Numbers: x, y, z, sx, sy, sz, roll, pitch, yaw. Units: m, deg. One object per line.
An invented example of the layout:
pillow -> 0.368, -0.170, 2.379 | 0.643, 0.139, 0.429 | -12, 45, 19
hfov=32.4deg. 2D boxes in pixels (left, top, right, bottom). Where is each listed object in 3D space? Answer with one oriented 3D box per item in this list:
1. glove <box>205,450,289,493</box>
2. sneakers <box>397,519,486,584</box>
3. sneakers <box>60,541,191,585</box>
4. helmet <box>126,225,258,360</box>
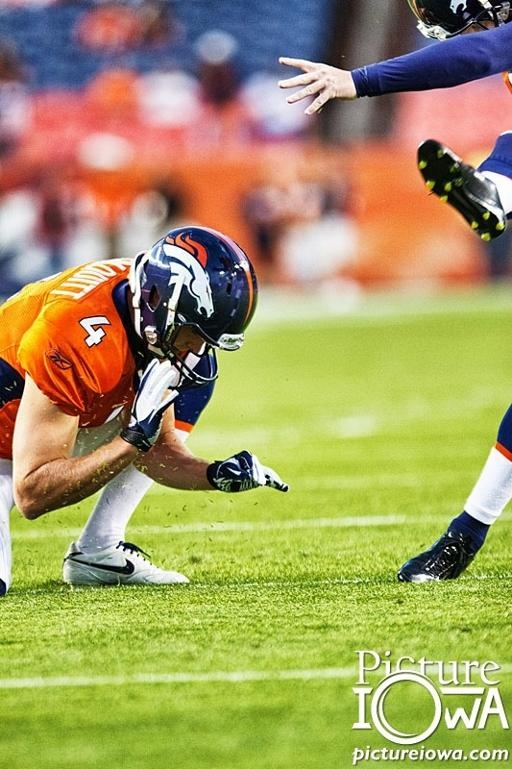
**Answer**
glove -> -0.031, 0.200, 2.024 | 0.148, 0.058, 0.115 | 3, -3, 37
sneakers -> 0.498, 0.447, 2.350 | 0.257, 0.093, 0.101 | -32, 0, -35
sneakers -> -0.365, 0.481, 2.388 | 0.402, 0.123, 0.114 | 2, -5, -6
helmet -> -0.153, -0.204, 1.985 | 0.296, 0.300, 0.138 | 9, 11, 1
